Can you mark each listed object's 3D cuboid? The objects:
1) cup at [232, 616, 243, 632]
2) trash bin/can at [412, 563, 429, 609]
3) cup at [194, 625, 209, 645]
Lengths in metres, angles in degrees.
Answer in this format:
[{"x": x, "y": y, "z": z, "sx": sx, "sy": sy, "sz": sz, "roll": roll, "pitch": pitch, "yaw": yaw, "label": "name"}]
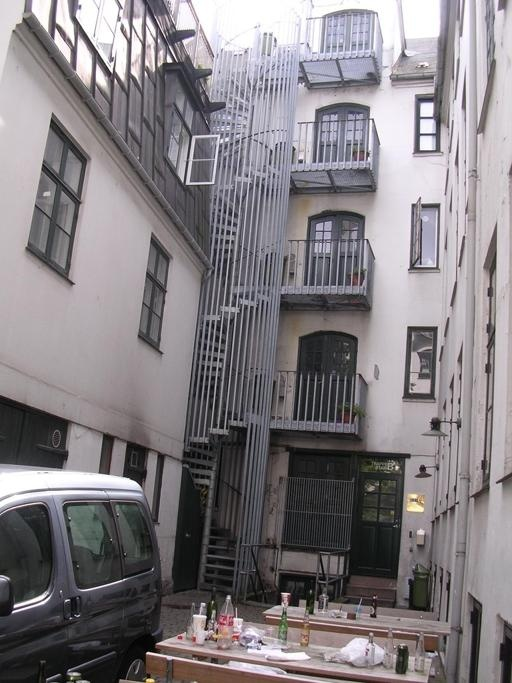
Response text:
[{"x": -0.122, "y": 1.957, "z": 3.953, "sx": 0.079, "sy": 0.123, "sz": 0.111, "roll": 3, "pitch": -21, "yaw": 1, "label": "cup"}, {"x": 3.397, "y": 5.041, "z": 11.660, "sx": 0.343, "sy": 1.066, "sz": 0.570, "roll": -2, "pitch": -7, "yaw": 25, "label": "trash bin/can"}, {"x": -0.358, "y": 1.916, "z": 3.701, "sx": 0.055, "sy": 0.086, "sz": 0.076, "roll": 4, "pitch": -7, "yaw": -11, "label": "cup"}]
